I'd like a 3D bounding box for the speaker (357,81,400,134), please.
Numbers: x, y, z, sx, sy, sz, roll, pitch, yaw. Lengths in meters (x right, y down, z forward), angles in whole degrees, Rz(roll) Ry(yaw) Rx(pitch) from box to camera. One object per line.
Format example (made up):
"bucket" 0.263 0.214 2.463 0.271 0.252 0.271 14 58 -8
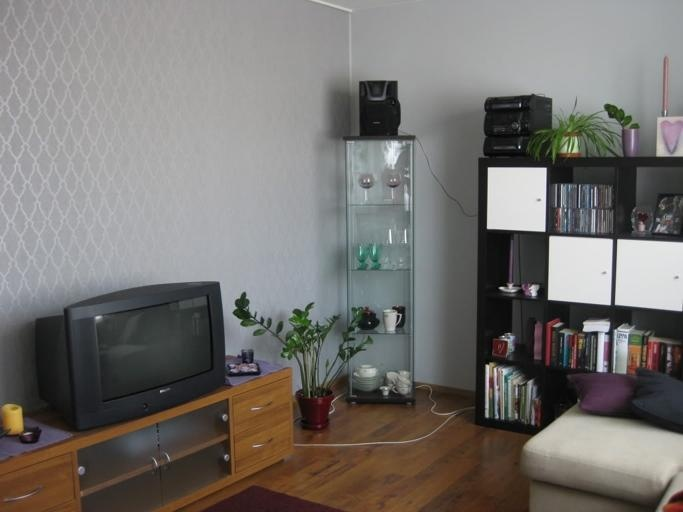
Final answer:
"speaker" 0.296 -1.140 4.430 0.399 0.573 0.365 0 7 2

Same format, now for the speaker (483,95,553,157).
"speaker" 1.243 -0.893 4.115 0.469 0.521 0.429 7 11 43

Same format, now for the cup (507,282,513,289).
"cup" 1.239 0.209 4.086 0.034 0.026 0.033 0 4 0

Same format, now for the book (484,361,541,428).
"book" 1.349 0.983 4.248 0.374 0.524 0.398 2 5 32

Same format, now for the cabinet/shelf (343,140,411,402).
"cabinet/shelf" 0.338 0.108 4.721 0.593 2.247 0.317 2 13 16

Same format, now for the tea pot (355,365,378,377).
"tea pot" 0.214 0.939 4.631 0.120 0.057 0.093 4 -3 -37

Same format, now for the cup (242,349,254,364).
"cup" -0.609 0.656 3.699 0.082 0.093 0.081 0 11 0

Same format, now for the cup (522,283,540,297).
"cup" 1.363 0.238 4.024 0.087 0.078 0.105 2 9 22

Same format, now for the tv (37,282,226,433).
"tv" -1.149 0.468 3.079 0.659 0.719 0.943 5 11 35

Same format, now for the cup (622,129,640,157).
"cup" 1.881 -0.743 3.632 0.092 0.187 0.155 3 9 20

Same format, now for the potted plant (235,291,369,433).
"potted plant" -0.209 0.771 4.320 0.982 0.791 0.971 0 0 32

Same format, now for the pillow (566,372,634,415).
"pillow" 1.502 0.781 3.176 0.224 0.071 0.236 -5 27 17

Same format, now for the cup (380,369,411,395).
"cup" 0.470 1.039 4.574 0.178 0.107 0.208 -1 3 16

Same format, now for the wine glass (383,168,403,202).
"wine glass" 0.412 -0.565 4.421 0.148 0.270 0.076 0 9 5

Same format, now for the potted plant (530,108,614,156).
"potted plant" 1.624 -0.826 3.890 0.433 0.262 0.433 -3 6 -31

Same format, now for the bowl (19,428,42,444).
"bowl" -1.505 0.867 2.698 0.068 0.046 0.053 4 2 -27

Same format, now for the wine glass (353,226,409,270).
"wine glass" 0.320 -0.091 4.527 0.331 0.293 0.111 0 1 0

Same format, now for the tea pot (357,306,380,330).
"tea pot" 0.221 0.504 4.538 0.172 0.160 0.176 0 0 0
